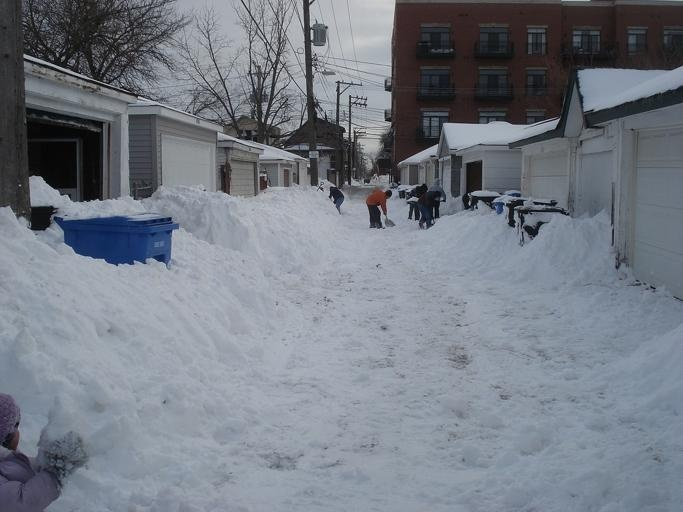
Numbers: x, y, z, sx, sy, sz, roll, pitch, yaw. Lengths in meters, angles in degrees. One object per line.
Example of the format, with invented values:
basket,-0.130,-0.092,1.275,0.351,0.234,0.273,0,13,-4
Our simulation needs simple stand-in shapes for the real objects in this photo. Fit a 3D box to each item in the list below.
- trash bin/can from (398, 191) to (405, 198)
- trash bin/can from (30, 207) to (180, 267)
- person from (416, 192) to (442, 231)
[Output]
trash bin/can,2.796,-2.865,35.395,0.301,0.381,0.329,-1,3,-21
trash bin/can,-3.245,-0.273,10.957,1.201,0.887,0.836,2,6,6
person,2.391,-1.301,21.234,0.579,0.996,0.830,1,4,5
